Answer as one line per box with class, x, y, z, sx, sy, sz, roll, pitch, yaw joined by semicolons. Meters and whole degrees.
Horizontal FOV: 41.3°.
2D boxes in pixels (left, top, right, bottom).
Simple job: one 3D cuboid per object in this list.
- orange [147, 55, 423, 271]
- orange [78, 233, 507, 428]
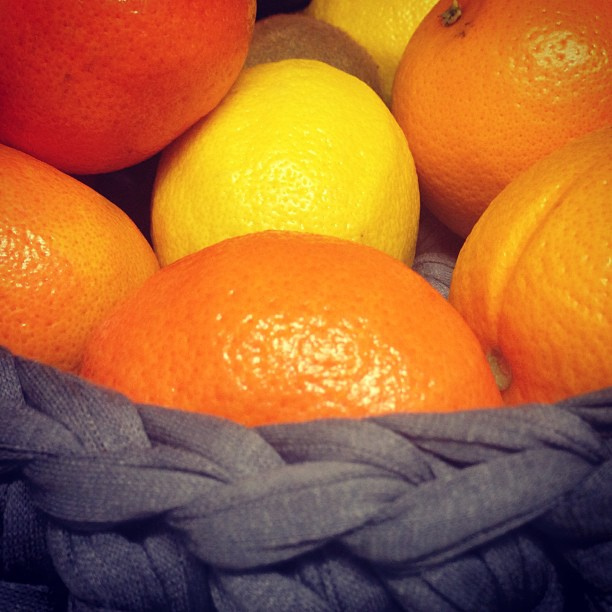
orange;-0.012;-0.095;0.704;0.165;0.183;0.184;-11;93;9
orange;-0.005;0.036;0.563;0.259;0.218;0.157;2;85;7
